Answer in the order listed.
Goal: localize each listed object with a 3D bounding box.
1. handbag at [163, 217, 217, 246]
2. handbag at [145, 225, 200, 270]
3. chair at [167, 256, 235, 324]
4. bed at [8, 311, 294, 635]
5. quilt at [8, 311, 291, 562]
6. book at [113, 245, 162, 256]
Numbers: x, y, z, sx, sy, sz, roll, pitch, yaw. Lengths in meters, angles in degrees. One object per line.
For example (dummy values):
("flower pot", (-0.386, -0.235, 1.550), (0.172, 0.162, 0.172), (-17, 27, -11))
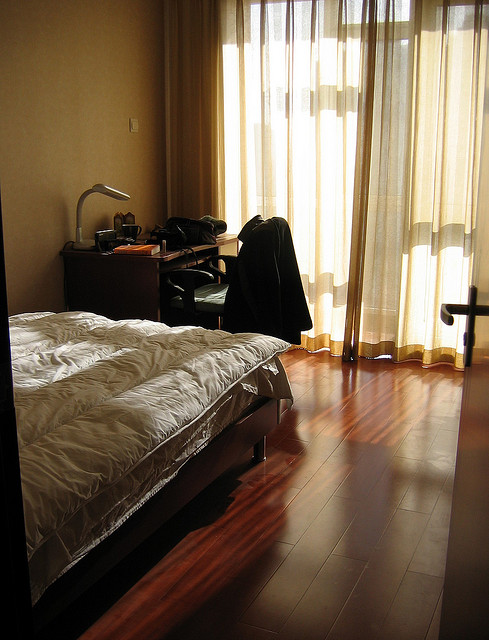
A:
("handbag", (-0.372, -0.621, 3.419), (0.254, 0.110, 0.211), (7, 11, -2))
("handbag", (-0.490, -0.485, 3.327), (0.309, 0.115, 0.237), (12, 10, 6))
("chair", (-0.236, -0.246, 3.394), (0.380, 0.365, 0.754), (1, 14, 17))
("bed", (-0.297, 0.296, 1.428), (0.760, 0.278, 0.777), (8, 17, 34))
("quilt", (-0.348, 0.216, 1.504), (0.667, 0.168, 0.641), (12, 25, 39))
("book", (-0.676, -0.443, 3.126), (0.267, 0.061, 0.213), (2, 10, 10))
